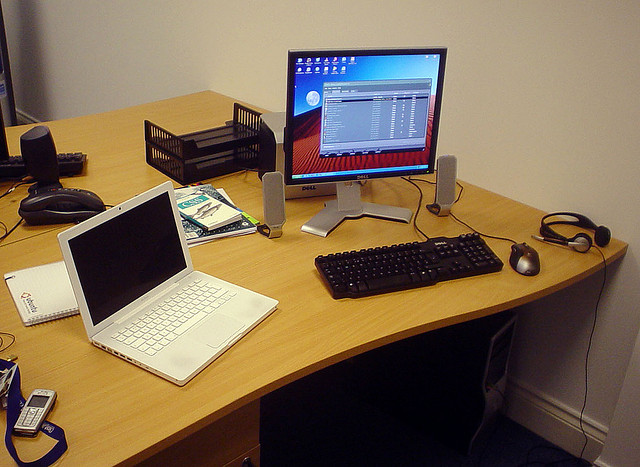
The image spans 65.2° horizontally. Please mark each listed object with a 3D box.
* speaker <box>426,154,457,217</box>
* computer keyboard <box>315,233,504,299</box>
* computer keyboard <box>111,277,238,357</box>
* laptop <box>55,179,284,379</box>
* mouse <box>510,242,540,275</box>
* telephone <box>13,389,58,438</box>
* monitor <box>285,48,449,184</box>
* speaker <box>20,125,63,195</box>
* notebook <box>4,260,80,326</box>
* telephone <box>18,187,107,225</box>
[{"bbox_3d":[0.468,-0.191,1.936,0.095,0.225,0.100,-11,23,-24],"label":"speaker"},{"bbox_3d":[0.294,0.100,1.652,0.601,0.106,0.172,-5,27,-17],"label":"computer keyboard"},{"bbox_3d":[-0.412,0.241,1.396,0.234,0.074,0.240,21,31,35],"label":"computer keyboard"},{"bbox_3d":[-0.387,0.119,1.368,0.439,0.293,0.430,16,29,18],"label":"laptop"},{"bbox_3d":[0.688,0.085,1.693,0.086,0.065,0.102,3,26,0],"label":"mouse"},{"bbox_3d":[-0.665,0.420,1.181,0.059,0.028,0.108,9,35,-5],"label":"telephone"},{"bbox_3d":[0.150,-0.421,1.765,0.512,0.387,0.050,-5,27,-18],"label":"monitor"},{"bbox_3d":[-1.050,-0.277,1.890,0.124,0.235,0.217,-11,29,-27],"label":"speaker"},{"bbox_3d":[-0.790,0.180,1.438,0.257,0.034,0.348,-10,28,-23],"label":"notebook"},{"bbox_3d":[-0.893,-0.102,1.759,0.180,0.063,0.171,-4,25,-16],"label":"telephone"}]
